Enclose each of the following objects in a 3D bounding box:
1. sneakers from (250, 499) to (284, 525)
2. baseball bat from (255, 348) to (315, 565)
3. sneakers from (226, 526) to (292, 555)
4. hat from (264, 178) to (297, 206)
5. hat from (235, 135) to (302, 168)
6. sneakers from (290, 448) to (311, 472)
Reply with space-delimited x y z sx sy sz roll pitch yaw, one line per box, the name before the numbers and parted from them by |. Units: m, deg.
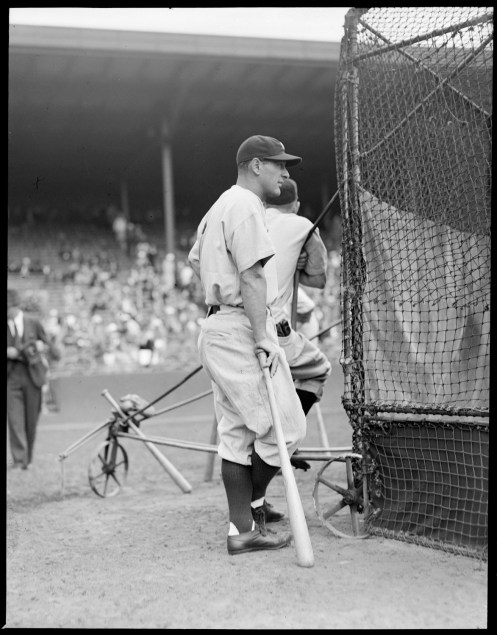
sneakers | 0.078 0.862 5.078 0.075 0.103 0.220 4 -6 37
baseball bat | 0.116 0.444 4.633 0.112 1.128 0.118 13 -43 -30
sneakers | 0.036 0.905 4.753 0.261 0.127 0.099 -4 -3 -15
hat | 0.170 -0.612 5.620 0.097 0.162 0.096 15 -23 14
hat | 0.082 -0.691 4.841 0.201 0.112 0.137 7 9 -3
sneakers | 0.245 0.669 5.308 0.152 0.121 0.052 6 -6 -34
